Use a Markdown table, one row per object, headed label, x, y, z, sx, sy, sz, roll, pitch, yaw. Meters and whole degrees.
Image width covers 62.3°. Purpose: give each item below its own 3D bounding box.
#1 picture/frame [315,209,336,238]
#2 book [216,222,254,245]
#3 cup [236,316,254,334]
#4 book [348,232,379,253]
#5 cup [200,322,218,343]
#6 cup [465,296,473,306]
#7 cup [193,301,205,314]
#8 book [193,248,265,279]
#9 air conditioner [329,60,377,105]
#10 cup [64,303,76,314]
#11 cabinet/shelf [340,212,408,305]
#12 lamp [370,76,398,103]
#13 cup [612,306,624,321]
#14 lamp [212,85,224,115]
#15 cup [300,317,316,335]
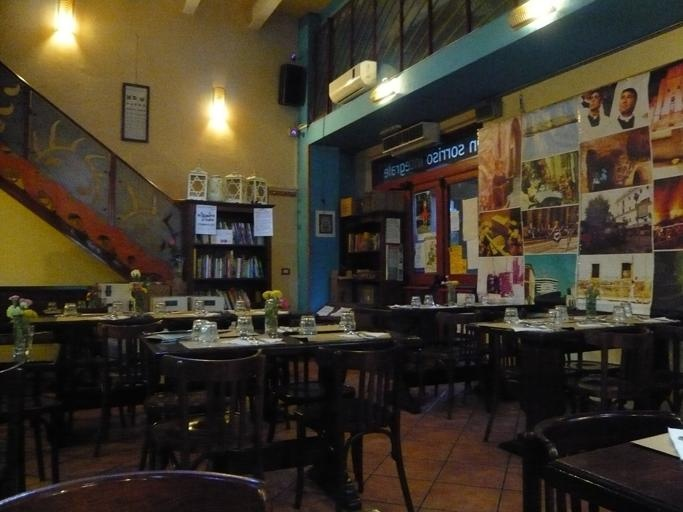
| label | x | y | z | sx | sy | sz | roll | pitch | yaw |
| --- | --- | --- | --- | --- | --- | --- | --- | --- | --- |
| picture/frame | -0.289 | -0.562 | 9.538 | 0.515 | 0.558 | 0.045 | 0 | -1 | -33 |
| book | -1.563 | -0.324 | 8.178 | 0.355 | 0.323 | 0.124 | -1 | 0 | -39 |
| cup | -0.743 | 0.519 | 4.246 | 0.139 | 0.129 | 0.140 | -1 | -6 | 0 |
| book | 0.381 | -0.211 | 9.385 | 0.322 | 0.370 | 0.586 | 1 | -1 | -39 |
| cup | -0.927 | 0.545 | 4.013 | 0.128 | 0.117 | 0.127 | 0 | -5 | 0 |
| cup | 1.515 | 0.543 | 6.764 | 0.128 | 0.117 | 0.087 | 4 | -5 | -43 |
| cup | -1.395 | 0.499 | 5.463 | 0.126 | 0.120 | 0.125 | -1 | -3 | 0 |
| book | -1.626 | 0.136 | 8.197 | 1.053 | 0.399 | 0.244 | -2 | 5 | -39 |
| air conditioner | 0.162 | -2.457 | 7.985 | 0.229 | 0.391 | 0.884 | -2 | 4 | -31 |
| cup | -2.671 | 0.518 | 5.567 | 0.094 | 0.090 | 0.130 | -1 | -3 | 36 |
| cabinet/shelf | 0.556 | 0.045 | 9.158 | 0.557 | 1.814 | 1.328 | 4 | -8 | -30 |
| lamp | 0.568 | -2.150 | 7.320 | 0.352 | 0.078 | 0.250 | -33 | 18 | -18 |
| cup | 2.537 | 0.529 | 5.201 | 0.117 | 0.115 | 0.115 | 1 | 1 | 0 |
| lamp | -1.936 | -2.489 | 8.971 | 0.235 | 0.451 | 0.076 | -2 | 5 | -37 |
| cup | -0.255 | 0.542 | 4.385 | 0.102 | 0.134 | 0.048 | 2 | -13 | 2 |
